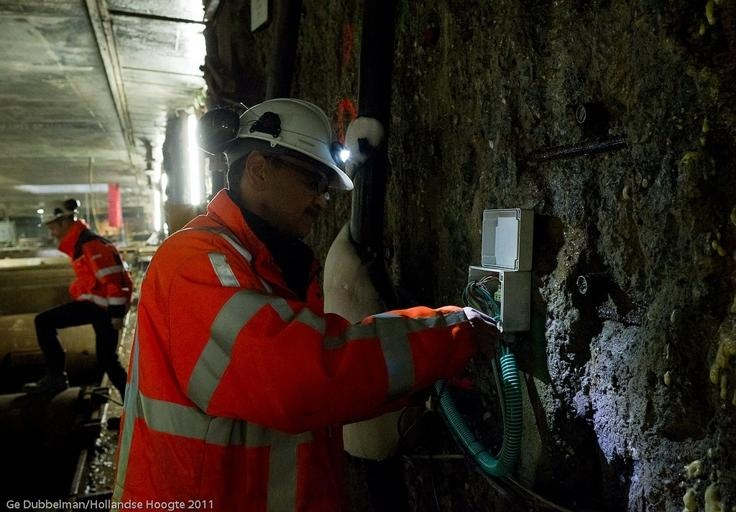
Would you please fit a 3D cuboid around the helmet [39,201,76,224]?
[{"bbox_3d":[-2.906,-0.425,5.933,0.299,0.116,0.207,-40,19,-18],"label":"helmet"}]

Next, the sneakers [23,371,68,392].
[{"bbox_3d":[-2.724,1.089,5.361,0.355,0.255,0.142,7,-3,-26],"label":"sneakers"}]
